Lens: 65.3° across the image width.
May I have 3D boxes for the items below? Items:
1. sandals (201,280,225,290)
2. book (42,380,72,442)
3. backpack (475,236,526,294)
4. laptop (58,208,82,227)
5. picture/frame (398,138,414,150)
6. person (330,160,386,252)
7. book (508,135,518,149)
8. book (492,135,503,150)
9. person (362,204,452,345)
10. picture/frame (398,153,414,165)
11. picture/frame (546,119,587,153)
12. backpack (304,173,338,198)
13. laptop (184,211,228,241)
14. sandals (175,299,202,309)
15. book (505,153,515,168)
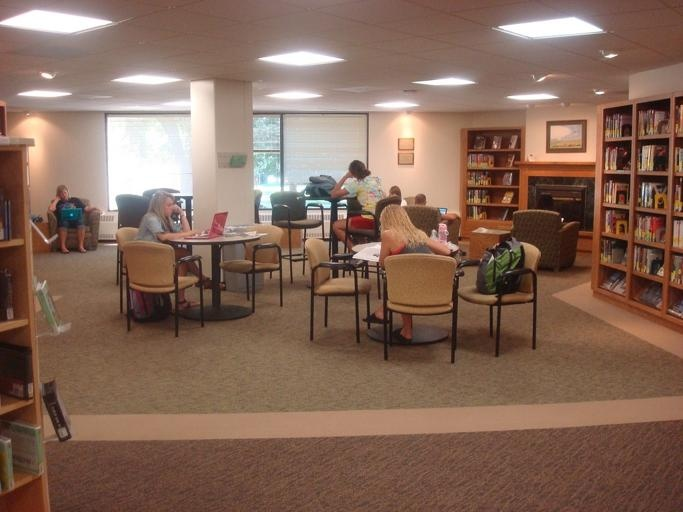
[{"bbox_3d":[-1.651,0.390,6.748,0.445,0.126,0.170,2,10,-9],"label":"sandals"},{"bbox_3d":[-1.413,0.803,2.645,0.104,0.389,0.246,-7,13,-30],"label":"book"},{"bbox_3d":[1.478,0.105,5.301,0.508,0.619,0.513,0,3,-9],"label":"backpack"},{"bbox_3d":[-5.626,-0.762,11.083,0.533,0.332,0.379,1,10,-10],"label":"laptop"},{"bbox_3d":[1.503,-2.610,12.616,0.292,0.193,0.029,0,0,-7],"label":"picture/frame"},{"bbox_3d":[0.331,-0.699,8.690,0.915,1.532,0.773,7,12,28],"label":"person"},{"bbox_3d":[3.947,-2.555,12.254,0.228,0.302,0.143,2,11,11],"label":"book"},{"bbox_3d":[3.610,-2.576,12.428,0.214,0.309,0.302,2,11,14],"label":"book"},{"bbox_3d":[0.593,0.210,5.235,0.874,1.372,0.866,5,12,26],"label":"person"},{"bbox_3d":[1.502,-2.262,12.655,0.303,0.200,0.031,0,1,-6],"label":"picture/frame"},{"bbox_3d":[4.794,-2.498,11.313,0.814,0.657,0.059,3,3,34],"label":"picture/frame"},{"bbox_3d":[-0.360,-1.170,9.397,0.489,0.225,0.560,2,4,22],"label":"backpack"},{"bbox_3d":[-1.616,-0.336,6.389,0.277,0.315,0.446,8,5,10],"label":"laptop"},{"bbox_3d":[-1.952,0.637,6.745,0.341,0.073,0.156,-2,4,11],"label":"sandals"},{"bbox_3d":[3.871,-2.127,12.243,0.192,0.298,0.333,3,11,17],"label":"book"}]
